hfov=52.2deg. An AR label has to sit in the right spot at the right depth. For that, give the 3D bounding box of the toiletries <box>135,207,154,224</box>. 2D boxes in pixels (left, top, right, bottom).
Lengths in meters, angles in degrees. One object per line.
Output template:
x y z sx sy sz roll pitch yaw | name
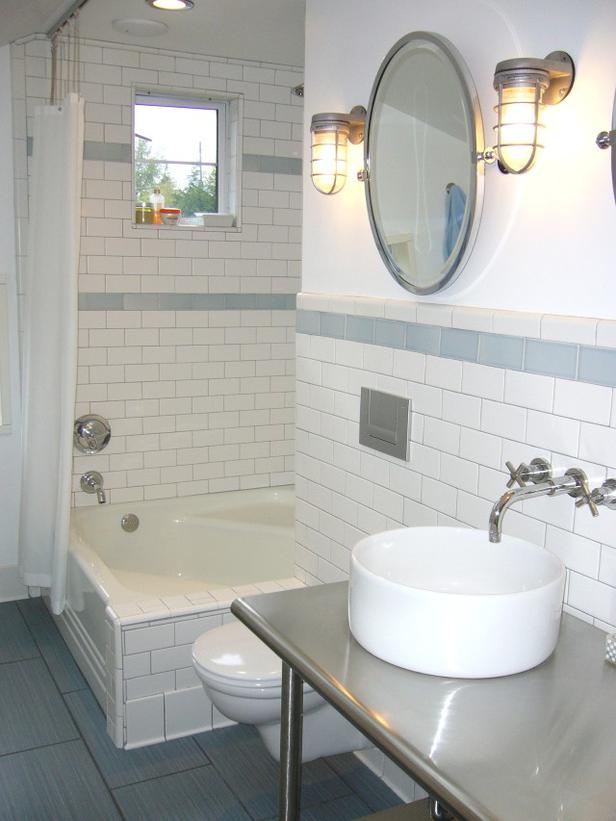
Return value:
-0.913 -1.085 3.489 0.088 0.094 0.094 5 8 14 | toiletries

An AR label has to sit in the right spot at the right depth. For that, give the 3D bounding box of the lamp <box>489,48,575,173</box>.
0.424 -0.559 1.192 0.124 0.243 0.111 -8 16 -30 | lamp

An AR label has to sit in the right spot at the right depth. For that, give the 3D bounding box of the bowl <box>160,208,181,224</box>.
-0.783 -1.100 3.557 0.087 0.085 0.089 1 15 0 | bowl

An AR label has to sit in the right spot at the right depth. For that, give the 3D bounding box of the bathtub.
-0.671 0.884 3.235 0.748 0.368 0.772 -4 16 -24 | bathtub

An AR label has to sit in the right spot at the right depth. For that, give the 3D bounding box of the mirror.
0.279 -0.618 1.580 0.111 0.642 0.486 -1 2 -16 | mirror

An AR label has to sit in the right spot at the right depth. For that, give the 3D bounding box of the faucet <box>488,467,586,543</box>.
0.423 0.134 1.172 0.147 0.079 0.161 -13 17 -34 | faucet

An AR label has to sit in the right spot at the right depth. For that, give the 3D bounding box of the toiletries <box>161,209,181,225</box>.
-0.776 -1.103 3.559 0.085 0.084 0.089 -9 27 -33 | toiletries

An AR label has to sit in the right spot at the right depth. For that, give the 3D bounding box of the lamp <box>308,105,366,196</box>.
0.088 -0.780 1.897 0.145 0.275 0.123 -8 21 -22 | lamp
